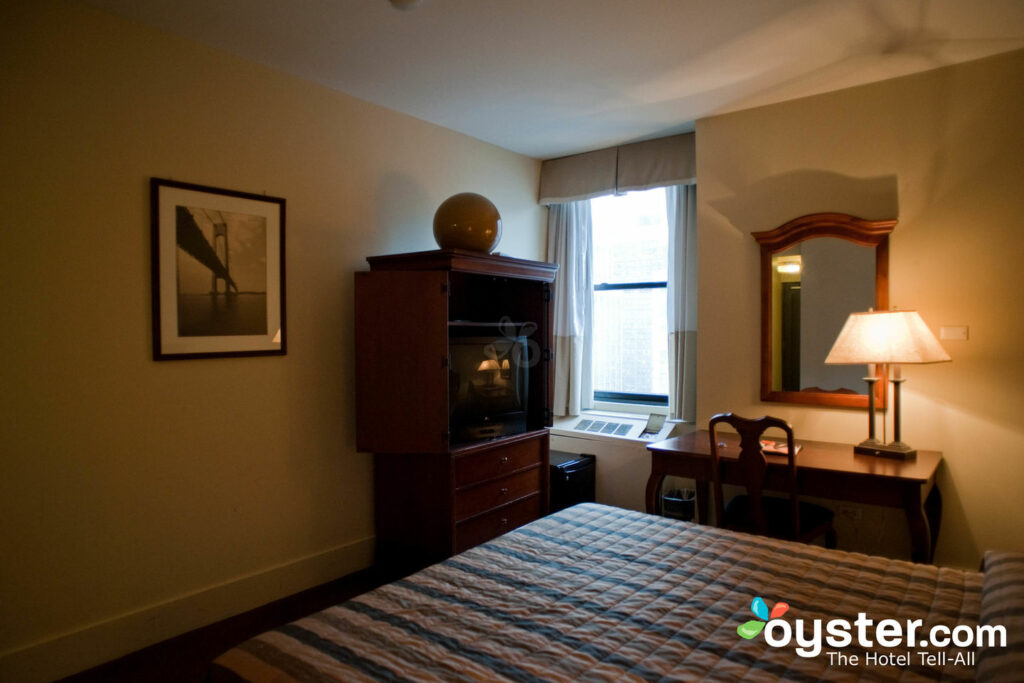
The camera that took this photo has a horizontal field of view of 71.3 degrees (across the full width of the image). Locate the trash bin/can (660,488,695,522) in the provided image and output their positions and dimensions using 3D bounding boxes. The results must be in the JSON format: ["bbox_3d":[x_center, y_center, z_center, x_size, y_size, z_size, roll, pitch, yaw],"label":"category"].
[{"bbox_3d":[1.225,1.183,5.187,0.205,0.296,0.236,8,-11,-33],"label":"trash bin/can"}]
